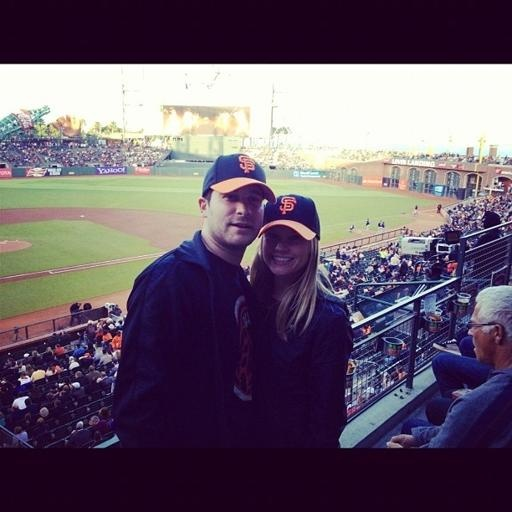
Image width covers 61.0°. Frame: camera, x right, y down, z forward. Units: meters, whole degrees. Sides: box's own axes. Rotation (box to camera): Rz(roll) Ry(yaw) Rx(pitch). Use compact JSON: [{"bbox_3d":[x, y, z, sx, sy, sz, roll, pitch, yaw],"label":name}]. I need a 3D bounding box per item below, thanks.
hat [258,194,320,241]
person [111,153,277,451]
[{"bbox_3d":[0.225,-0.234,2.684,0.263,0.187,0.360,1,4,17],"label":"hat"},{"bbox_3d":[-0.401,0.429,2.789,1.025,2.135,0.328,-2,13,-20],"label":"person"}]
